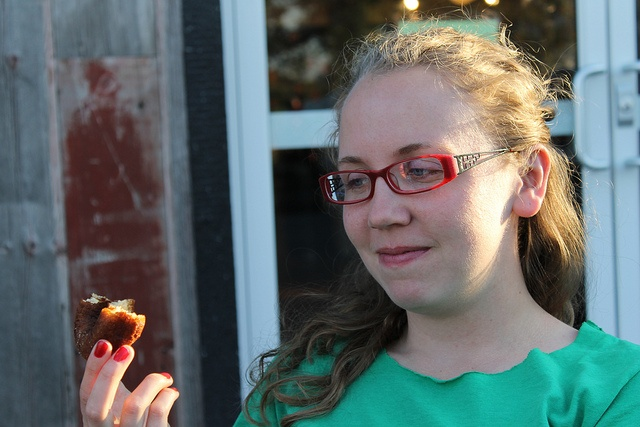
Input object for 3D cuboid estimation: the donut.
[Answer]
[{"bbox_3d":[-0.922,0.504,4.532,0.239,0.334,0.136,-20,-14,15],"label":"donut"}]
